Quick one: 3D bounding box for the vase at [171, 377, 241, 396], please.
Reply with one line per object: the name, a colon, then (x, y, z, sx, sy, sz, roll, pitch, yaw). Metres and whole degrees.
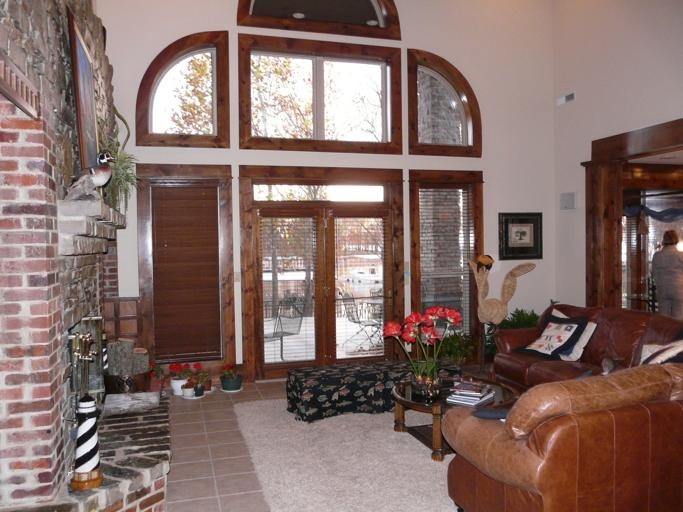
vase: (-1.660, 1.619, 6.444, 0.766, 0.248, 0.231, -4, 7, -22)

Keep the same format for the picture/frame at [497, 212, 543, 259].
picture/frame: (2.699, -0.318, 7.853, 0.650, 0.704, 0.044, -2, 2, -14)

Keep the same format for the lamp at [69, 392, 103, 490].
lamp: (-1.772, 1.257, 3.507, 0.200, 0.579, 0.305, -5, 7, -26)

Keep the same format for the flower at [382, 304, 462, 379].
flower: (0.794, 0.955, 5.002, 0.610, 0.758, 0.696, -2, 8, 17)

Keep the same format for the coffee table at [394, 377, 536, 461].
coffee table: (1.098, 1.557, 5.021, 1.121, 0.522, 1.197, -1, -1, 6)

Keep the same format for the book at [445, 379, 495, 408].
book: (1.136, 1.227, 4.546, 0.273, 0.089, 0.228, 2, 4, 30)

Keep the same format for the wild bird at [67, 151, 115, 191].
wild bird: (-1.895, -0.640, 3.872, 0.334, 0.309, 0.201, 1, 2, -4)
